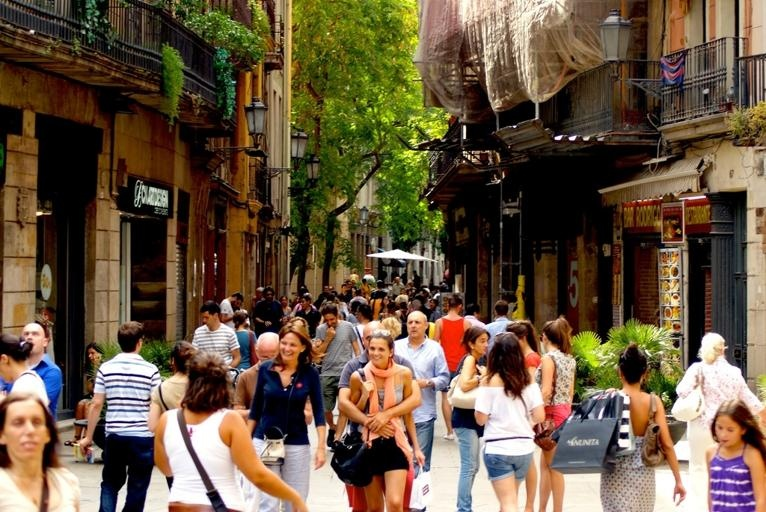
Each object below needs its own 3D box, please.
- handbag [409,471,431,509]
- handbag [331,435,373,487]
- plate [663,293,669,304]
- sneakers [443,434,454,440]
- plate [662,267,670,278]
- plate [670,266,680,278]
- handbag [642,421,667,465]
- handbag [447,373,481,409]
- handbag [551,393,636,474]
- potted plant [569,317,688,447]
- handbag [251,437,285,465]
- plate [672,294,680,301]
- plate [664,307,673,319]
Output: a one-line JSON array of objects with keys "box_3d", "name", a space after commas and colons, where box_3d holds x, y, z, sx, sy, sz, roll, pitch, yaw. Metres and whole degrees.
[{"box_3d": [0.463, 2.982, 16.200, 0.170, 0.573, 0.562, -1, -3, 18], "name": "handbag"}, {"box_3d": [-0.365, 2.531, 15.790, 0.588, 0.719, 0.339, 5, -16, -1], "name": "handbag"}, {"box_3d": [5.650, 0.851, 25.413, 0.049, 0.213, 0.218, 1, -5, -21], "name": "plate"}, {"box_3d": [1.156, 3.183, 22.353, 0.074, 0.081, 0.182, 0, 1, -45], "name": "sneakers"}, {"box_3d": [5.652, 0.327, 25.408, 0.229, 0.220, 0.149, -2, -5, 23], "name": "plate"}, {"box_3d": [5.794, 0.323, 25.245, 0.057, 0.179, 0.168, 0, -16, -16], "name": "plate"}, {"box_3d": [3.237, 2.231, 15.224, 0.240, 0.550, 0.479, -1, -2, 3], "name": "handbag"}, {"box_3d": [1.119, 1.839, 17.303, 0.448, 0.573, 0.196, 4, -1, 15], "name": "handbag"}, {"box_3d": [2.566, 2.183, 15.364, 1.061, 1.131, 0.428, -8, -41, 42], "name": "handbag"}, {"box_3d": [4.110, 2.202, 21.361, 1.979, 2.317, 1.841, 0, 0, 14], "name": "potted plant"}, {"box_3d": [-1.415, 2.414, 15.636, 0.446, 0.509, 0.277, -1, -17, 1], "name": "handbag"}, {"box_3d": [5.815, 0.796, 25.133, 0.037, 0.128, 0.228, 1, -5, -19], "name": "plate"}, {"box_3d": [5.689, 1.144, 25.329, 0.140, 0.181, 0.103, 3, 9, 3], "name": "plate"}]
